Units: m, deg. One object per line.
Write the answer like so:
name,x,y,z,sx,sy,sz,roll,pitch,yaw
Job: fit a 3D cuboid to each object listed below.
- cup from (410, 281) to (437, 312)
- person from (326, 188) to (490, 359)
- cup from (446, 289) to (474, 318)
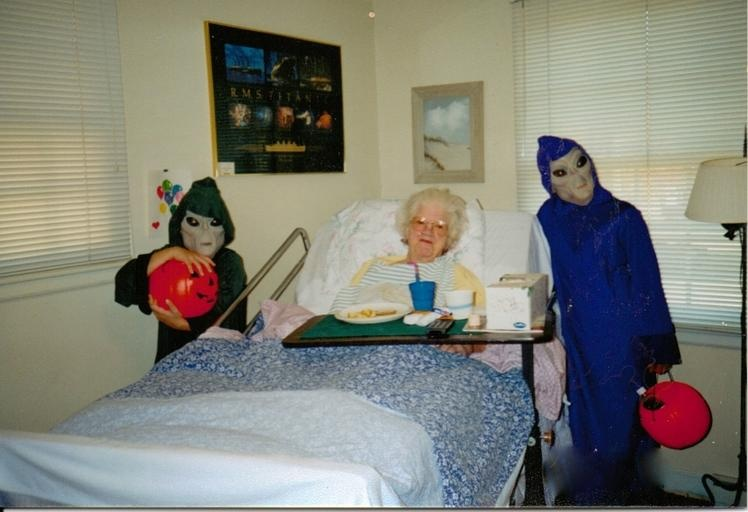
cup,0.162,0.125,1.731,0.084,0.092,0.085,-3,3,0
person,0.078,0.010,2.197,0.798,0.679,0.483,6,2,35
cup,0.251,0.140,1.618,0.065,0.065,0.081,-2,-19,5
